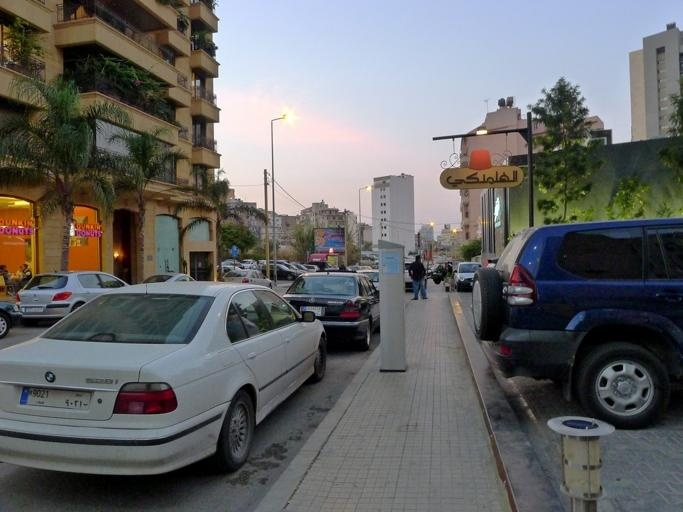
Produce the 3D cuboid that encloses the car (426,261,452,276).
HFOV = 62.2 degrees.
[{"bbox_3d":[7.612,0.553,44.338,1.535,1.252,3.549,-2,-7,16],"label":"car"}]

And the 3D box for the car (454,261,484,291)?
[{"bbox_3d":[4.610,0.719,20.811,1.157,1.213,2.664,-2,-5,3],"label":"car"}]
